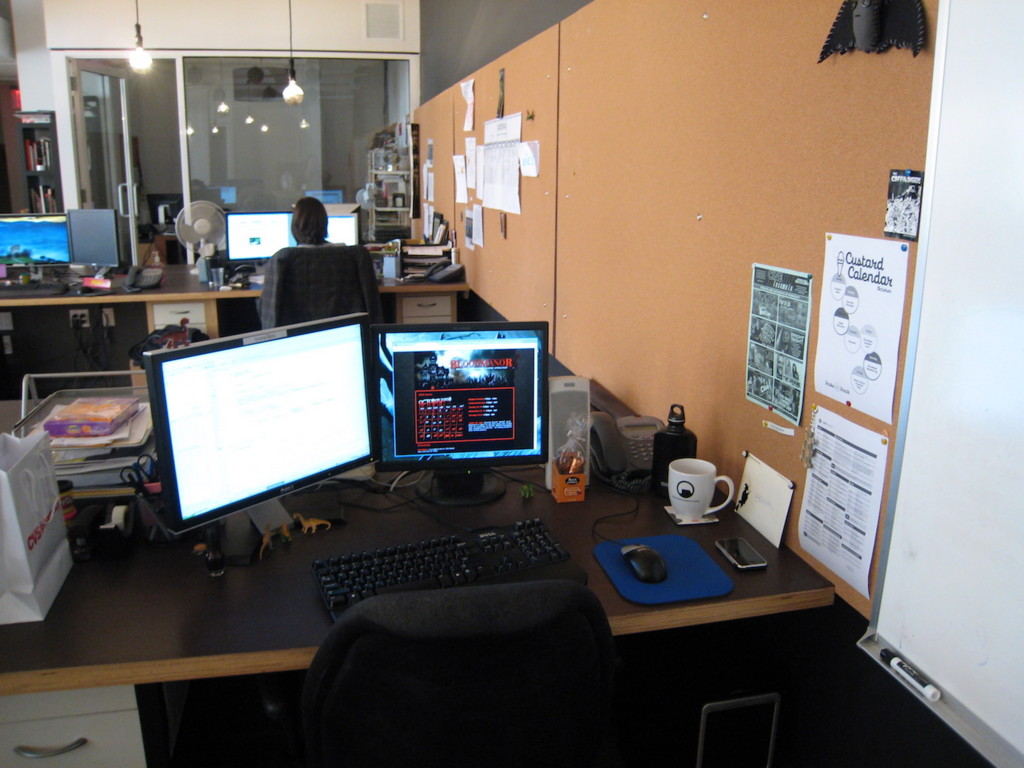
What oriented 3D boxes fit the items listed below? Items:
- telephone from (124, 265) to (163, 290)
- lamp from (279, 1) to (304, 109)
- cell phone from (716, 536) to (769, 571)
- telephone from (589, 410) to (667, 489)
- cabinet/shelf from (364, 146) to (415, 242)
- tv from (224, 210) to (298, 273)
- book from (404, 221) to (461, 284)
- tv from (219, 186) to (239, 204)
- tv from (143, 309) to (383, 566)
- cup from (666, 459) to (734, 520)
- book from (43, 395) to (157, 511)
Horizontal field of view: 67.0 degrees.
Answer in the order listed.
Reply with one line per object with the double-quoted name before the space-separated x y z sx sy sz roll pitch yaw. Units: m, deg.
"telephone" -2.272 -0.652 4.747 0.207 0.116 0.169 5 17 18
"lamp" -1.911 -2.826 6.608 0.212 0.813 1.117 -8 19 -13
"cell phone" 0.527 0.381 1.782 0.046 0.083 0.081 -3 23 -10
"telephone" 0.339 0.173 2.190 0.268 0.097 0.259 -4 32 -27
"cabinet/shelf" -1.104 -1.736 7.100 0.330 1.123 1.070 -2 8 -18
"tv" -1.593 -0.901 4.880 0.564 0.416 0.064 -3 14 -17
"book" -0.529 -0.883 5.053 0.332 0.147 0.476 0 27 -3
"tv" -2.688 -1.794 7.330 0.137 0.130 0.019 -11 17 -18
"tv" -0.576 0.152 1.829 0.048 0.383 0.501 10 20 41
"cup" 0.461 0.265 1.977 0.175 0.138 0.115 9 17 31
"book" -1.067 0.151 1.997 0.275 0.098 0.300 0 33 -10
